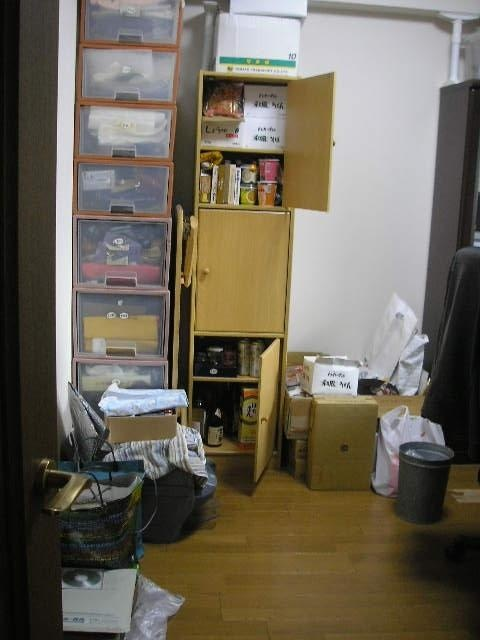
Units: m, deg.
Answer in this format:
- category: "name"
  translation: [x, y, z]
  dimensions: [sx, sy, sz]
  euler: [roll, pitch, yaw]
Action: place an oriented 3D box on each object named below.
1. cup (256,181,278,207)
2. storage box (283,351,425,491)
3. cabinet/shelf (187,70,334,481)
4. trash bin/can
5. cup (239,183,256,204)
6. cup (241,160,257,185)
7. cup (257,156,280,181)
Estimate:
- category: "cup"
  translation: [0.135, -0.629, 2.989]
  dimensions: [0.105, 0.131, 0.115]
  euler: [0, 10, 0]
- category: "storage box"
  translation: [0.506, 0.473, 2.964]
  dimensions: [0.507, 0.377, 0.562]
  euler: [2, 11, -5]
- category: "cabinet/shelf"
  translation: [0.062, -0.143, 3.064]
  dimensions: [0.599, 2.011, 1.037]
  euler: [4, 0, -25]
- category: "trash bin/can"
  translation: [0.783, 0.707, 2.613]
  dimensions: [0.225, 0.294, 0.232]
  euler: [-1, 8, -31]
- category: "cup"
  translation: [0.038, -0.632, 3.000]
  dimensions: [0.080, 0.092, 0.089]
  euler: [0, 5, -3]
- category: "cup"
  translation: [0.044, -0.731, 2.997]
  dimensions: [0.075, 0.105, 0.100]
  euler: [-1, 5, -5]
- category: "cup"
  translation: [0.151, -0.763, 2.991]
  dimensions: [0.105, 0.121, 0.115]
  euler: [5, 16, 19]
